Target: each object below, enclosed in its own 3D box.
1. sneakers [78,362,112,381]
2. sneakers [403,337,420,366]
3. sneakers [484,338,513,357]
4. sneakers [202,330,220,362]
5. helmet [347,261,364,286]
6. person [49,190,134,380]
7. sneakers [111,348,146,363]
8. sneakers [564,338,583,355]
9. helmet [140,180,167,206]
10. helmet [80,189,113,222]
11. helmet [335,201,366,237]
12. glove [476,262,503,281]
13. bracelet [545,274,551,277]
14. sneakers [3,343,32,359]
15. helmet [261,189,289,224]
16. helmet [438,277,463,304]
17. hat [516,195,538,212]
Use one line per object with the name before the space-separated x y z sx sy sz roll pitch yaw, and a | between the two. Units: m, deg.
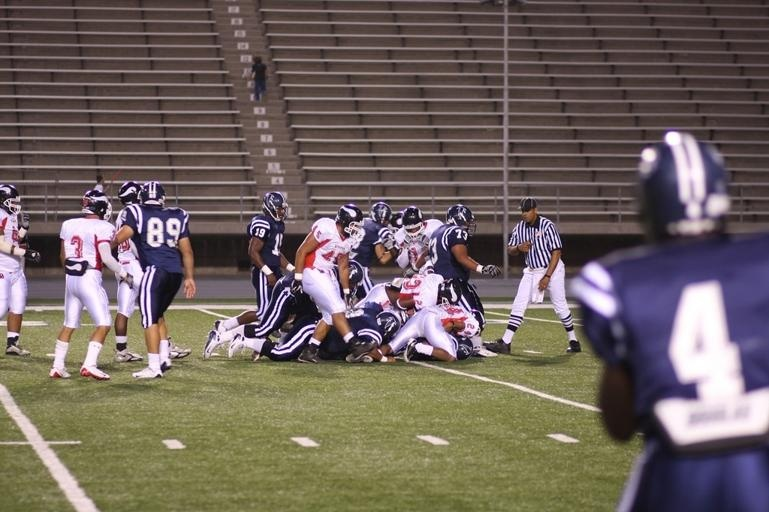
sneakers | -4.561 1.804 20.697 0.560 0.228 0.199 11 5 -11
sneakers | 0.404 1.578 21.852 0.216 0.415 0.165 26 6 2
sneakers | 1.810 1.537 22.545 0.614 0.258 0.188 5 -1 -9
sneakers | -2.918 1.460 21.925 0.272 0.544 0.199 19 18 6
helmet | -0.524 0.306 22.844 0.329 0.354 0.365 -7 -13 4
person | -4.736 0.442 20.985 1.203 2.961 1.026 -3 3 -13
sneakers | -4.225 1.651 21.856 0.529 0.193 0.174 0 8 -17
sneakers | 3.218 1.563 22.794 0.269 0.264 0.662 -1 -7 4
helmet | -3.673 -0.997 21.070 0.377 0.340 0.399 1 18 -14
helmet | -4.600 -0.855 21.171 0.431 0.473 0.541 20 25 38
helmet | -0.556 -0.595 21.684 0.559 0.461 0.395 24 7 -12
glove | 1.767 0.200 21.962 0.508 0.180 0.284 18 -29 -33
bracelet | 2.765 0.336 22.627 0.103 0.052 0.067 -2 2 5
sneakers | -6.090 1.574 22.009 0.455 0.172 0.164 2 2 -6
helmet | -1.846 -0.846 22.762 0.570 0.475 0.418 9 5 4
helmet | 1.088 0.585 22.170 0.458 0.304 0.416 -11 24 11
hat | 2.483 -0.888 22.866 0.389 0.201 0.262 -7 5 -40
